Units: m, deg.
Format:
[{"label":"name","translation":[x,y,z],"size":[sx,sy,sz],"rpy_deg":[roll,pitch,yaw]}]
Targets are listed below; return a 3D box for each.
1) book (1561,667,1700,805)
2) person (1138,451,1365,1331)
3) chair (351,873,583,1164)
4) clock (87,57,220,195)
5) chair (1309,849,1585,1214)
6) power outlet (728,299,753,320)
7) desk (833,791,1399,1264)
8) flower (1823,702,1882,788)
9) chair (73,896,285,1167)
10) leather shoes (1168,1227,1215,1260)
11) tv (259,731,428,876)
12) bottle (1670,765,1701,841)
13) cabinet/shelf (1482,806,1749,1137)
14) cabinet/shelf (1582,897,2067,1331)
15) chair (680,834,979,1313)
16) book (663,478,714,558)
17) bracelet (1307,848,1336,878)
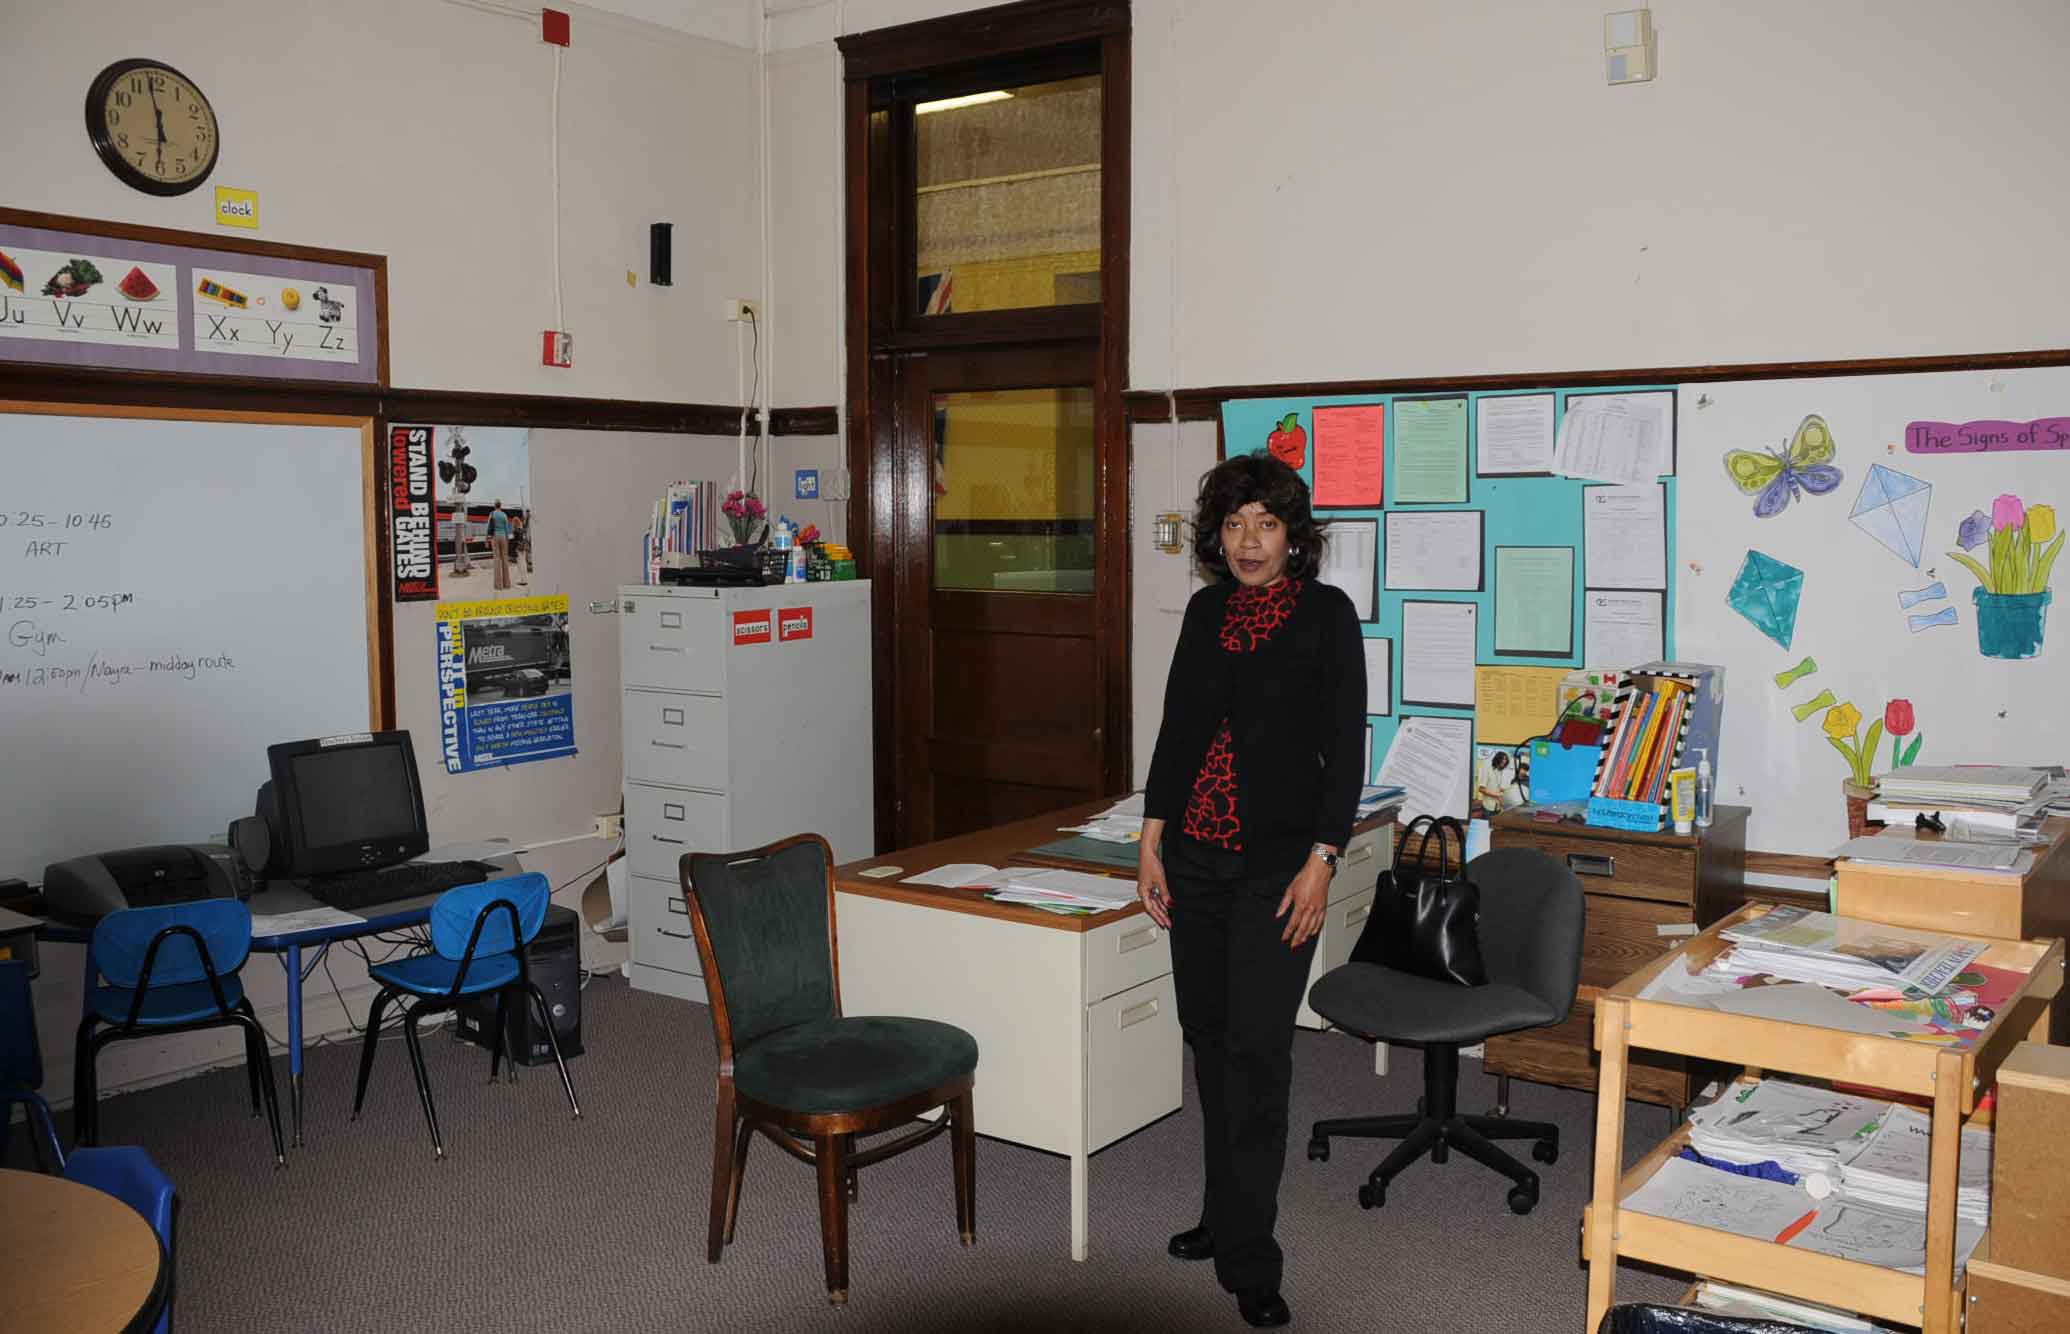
[{"label":"book","translation":[2.065,0.231,4.860],"size":[0.329,0.446,0.140],"rpy_deg":[12,-1,20]},{"label":"person","translation":[0.576,0.608,3.984],"size":[0.578,2.329,0.639],"rpy_deg":[5,14,23]},{"label":"chair","translation":[-2.028,1.152,5.052],"size":[0.704,0.861,0.701],"rpy_deg":[-2,1,-33]},{"label":"clock","translation":[-3.171,-1.928,5.096],"size":[0.070,0.494,0.491],"rpy_deg":[2,14,32]},{"label":"chair","translation":[1.306,1.129,4.604],"size":[0.841,0.998,0.852],"rpy_deg":[0,1,44]},{"label":"power outlet","translation":[-1.384,-1.681,6.753],"size":[0.059,0.079,0.110],"rpy_deg":[2,0,37]},{"label":"desk","translation":[0.352,1.068,5.153],"size":[1.111,0.959,2.034],"rpy_deg":[3,7,38]},{"label":"flower","translation":[2.794,0.251,4.899],"size":[0.190,0.258,0.063],"rpy_deg":[7,15,29]},{"label":"chair","translation":[-2.801,1.170,4.607],"size":[0.571,0.929,0.430],"rpy_deg":[-8,15,-31]},{"label":"leather shoes","translation":[0.458,1.696,4.214],"size":[0.137,0.084,0.079],"rpy_deg":[14,-5,-35]},{"label":"tv","translation":[-2.551,0.486,5.373],"size":[0.491,0.624,0.621],"rpy_deg":[-12,-6,42]},{"label":"bottle","translation":[2.192,0.443,4.809],"size":[0.146,0.202,0.087],"rpy_deg":[-10,17,-37]},{"label":"cabinet/shelf","translation":[2.036,1.070,5.150],"size":[0.879,1.076,0.816],"rpy_deg":[3,-1,-4]},{"label":"cabinet/shelf","translation":[1.898,0.626,3.448],"size":[0.846,0.930,1.492],"rpy_deg":[1,6,32]},{"label":"chair","translation":[-0.580,1.132,4.136],"size":[0.759,1.201,0.637],"rpy_deg":[9,16,34]},{"label":"book","translation":[-1.579,-0.666,6.467],"size":[0.222,0.319,0.470],"rpy_deg":[-2,13,-7]},{"label":"bracelet","translation":[0.779,0.528,3.888],"size":[0.077,0.069,0.062],"rpy_deg":[0,15,-1]}]
